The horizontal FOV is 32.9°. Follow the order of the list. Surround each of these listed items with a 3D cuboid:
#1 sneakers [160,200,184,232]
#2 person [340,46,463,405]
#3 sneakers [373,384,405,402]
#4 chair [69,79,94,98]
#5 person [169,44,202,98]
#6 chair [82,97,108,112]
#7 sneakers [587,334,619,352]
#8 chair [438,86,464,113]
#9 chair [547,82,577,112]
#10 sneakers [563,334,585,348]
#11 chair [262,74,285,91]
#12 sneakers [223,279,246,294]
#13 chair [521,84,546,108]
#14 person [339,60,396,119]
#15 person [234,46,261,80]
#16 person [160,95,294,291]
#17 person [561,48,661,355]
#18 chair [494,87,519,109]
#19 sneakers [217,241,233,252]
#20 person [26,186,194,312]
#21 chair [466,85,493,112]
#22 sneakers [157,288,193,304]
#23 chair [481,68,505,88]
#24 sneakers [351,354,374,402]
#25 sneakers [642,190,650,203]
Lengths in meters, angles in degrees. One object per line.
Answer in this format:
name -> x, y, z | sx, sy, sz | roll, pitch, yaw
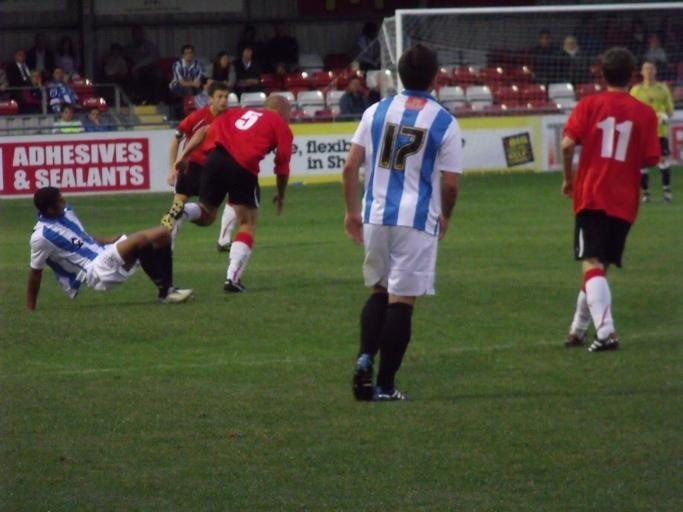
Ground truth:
sneakers -> -1.658, -0.362, 11.503 | 0.132, 0.160, 0.409 | 7, 44, 25
person -> 0.435, -0.256, 8.892 | 0.988, 2.614, 0.607 | -14, 19, -39
sneakers -> 0.357, 1.066, 8.947 | 0.299, 0.127, 0.103 | 1, 1, -6
chair -> -5.331, -3.429, 23.770 | 0.383, 0.605, 0.445 | -5, 20, -8
person -> -3.107, -3.606, 23.501 | 0.564, 1.301, 0.893 | -12, 25, -34
chair -> -4.920, -3.034, 23.044 | 0.504, 0.253, 0.353 | -3, 8, 4
sneakers -> 2.201, 0.740, 9.769 | 0.299, 0.224, 0.109 | 0, 3, 4
chair -> 2.131, -3.065, 22.359 | 0.475, 0.671, 0.534 | 0, -4, 4
chair -> 4.216, -3.076, 22.087 | 0.541, 0.584, 0.559 | -2, -1, 9
sneakers -> 1.982, 0.729, 9.850 | 0.131, 0.067, 0.099 | 0, 4, -38
chair -> -1.479, -3.763, 25.090 | 0.455, 0.568, 0.474 | 0, 18, 4
sneakers -> -1.068, 0.302, 11.591 | 0.232, 0.115, 0.091 | 1, 6, -9
chair -> 3.689, -3.081, 22.131 | 0.503, 0.375, 0.509 | 0, 16, 4
person -> 0.460, -3.161, 22.012 | 1.164, 1.221, 0.981 | 1, 8, 8
person -> -1.978, -4.000, 24.359 | 0.721, 0.555, 0.487 | 9, 25, -32
person -> -1.061, -0.638, 11.697 | 1.157, 1.860, 0.788 | -2, 15, -3
person -> 2.197, -0.485, 9.758 | 0.742, 2.435, 0.846 | 7, 17, 30
chair -> 3.206, -3.089, 22.291 | 0.413, 0.353, 0.803 | -5, 17, -13
sneakers -> -1.407, -0.100, 14.059 | 0.138, 0.177, 0.246 | 1, -8, -23
person -> -2.193, -0.105, 11.043 | 1.616, 1.185, 0.669 | -2, 15, -4
chair -> 2.673, -3.018, 22.236 | 0.533, 0.618, 0.478 | -1, 8, -2
sneakers -> -1.591, 0.385, 11.170 | 0.273, 0.139, 0.149 | -9, 10, 3
chair -> 2.922, -3.503, 22.563 | 0.357, 0.386, 0.251 | -3, 11, 3
sneakers -> 0.172, 0.943, 8.846 | 0.141, 0.354, 0.153 | 0, 7, 0
sneakers -> 4.471, -0.869, 16.854 | 0.087, 0.195, 0.269 | -1, 7, -2
